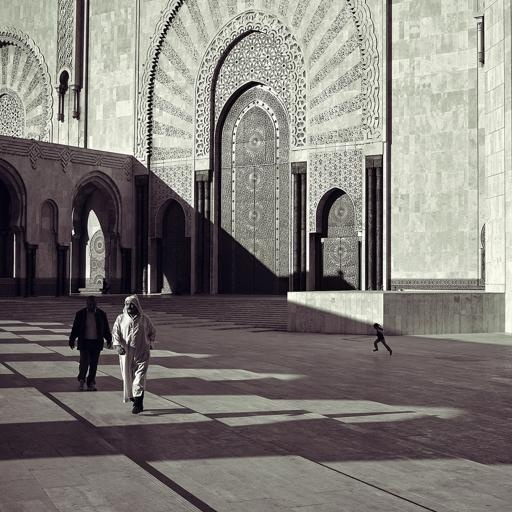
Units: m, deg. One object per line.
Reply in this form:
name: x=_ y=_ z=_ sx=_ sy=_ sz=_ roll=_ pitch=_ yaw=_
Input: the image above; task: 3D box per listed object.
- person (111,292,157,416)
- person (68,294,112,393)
person: x=-1.142 y=0.878 z=6.736 sx=0.386 sy=1.000 sz=0.612 roll=0 pitch=0 yaw=-4
person: x=-1.747 y=0.907 z=7.782 sx=0.429 sy=0.973 sz=0.541 roll=0 pitch=0 yaw=-13
